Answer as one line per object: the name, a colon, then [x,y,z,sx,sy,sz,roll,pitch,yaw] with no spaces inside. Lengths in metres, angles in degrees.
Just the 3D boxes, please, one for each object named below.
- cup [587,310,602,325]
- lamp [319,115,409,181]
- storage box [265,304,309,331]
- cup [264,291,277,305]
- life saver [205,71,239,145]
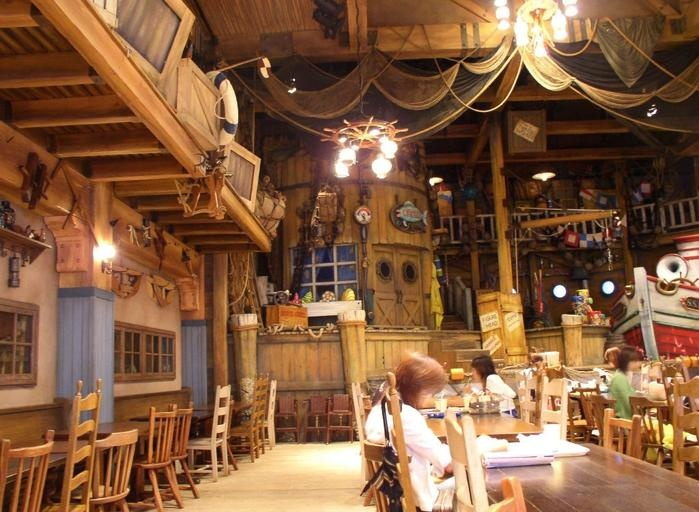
cup: [6.445,1.636,14.627,0.367,0.369,0.373,-3,-5,0]
lamp: [0.302,-1.891,9.381,1.276,0.461,1.297,-4,4,7]
storage box: [-1.275,1.208,11.061,0.743,0.586,1.302,-1,-10,2]
cup: [-1.753,0.940,12.508,0.266,0.366,0.371,-2,-2,1]
life saver: [-1.436,-1.716,6.243,0.343,0.942,0.382,2,-10,-15]
